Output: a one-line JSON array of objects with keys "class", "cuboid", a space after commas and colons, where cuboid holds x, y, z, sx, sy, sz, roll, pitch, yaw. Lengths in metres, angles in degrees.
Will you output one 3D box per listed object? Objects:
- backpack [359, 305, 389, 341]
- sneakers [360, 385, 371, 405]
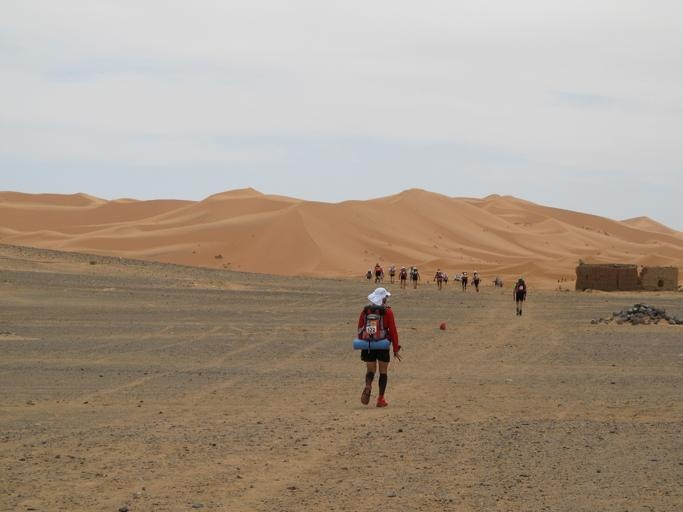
[{"class": "backpack", "cuboid": [0.618, 1.349, 17.410, 0.615, 0.715, 0.272, 1, 5, 8]}, {"class": "sneakers", "cuboid": [0.468, 2.887, 17.643, 0.274, 0.395, 0.247, 7, 4, 6]}]
